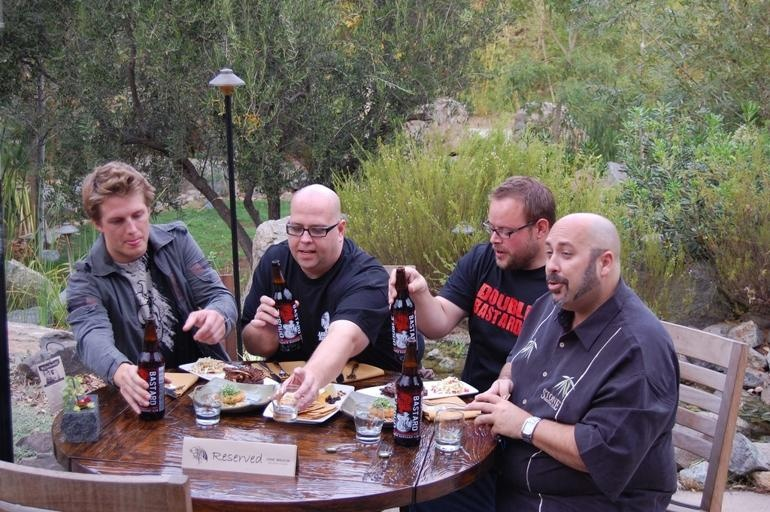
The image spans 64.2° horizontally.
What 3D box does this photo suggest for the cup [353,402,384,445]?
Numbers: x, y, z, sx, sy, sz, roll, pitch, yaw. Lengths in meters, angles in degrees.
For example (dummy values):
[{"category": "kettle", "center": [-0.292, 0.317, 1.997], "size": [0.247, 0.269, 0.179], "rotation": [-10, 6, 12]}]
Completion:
[{"category": "cup", "center": [-0.092, 0.882, 3.256], "size": [0.172, 0.213, 0.183], "rotation": [0, -4, 0]}]
